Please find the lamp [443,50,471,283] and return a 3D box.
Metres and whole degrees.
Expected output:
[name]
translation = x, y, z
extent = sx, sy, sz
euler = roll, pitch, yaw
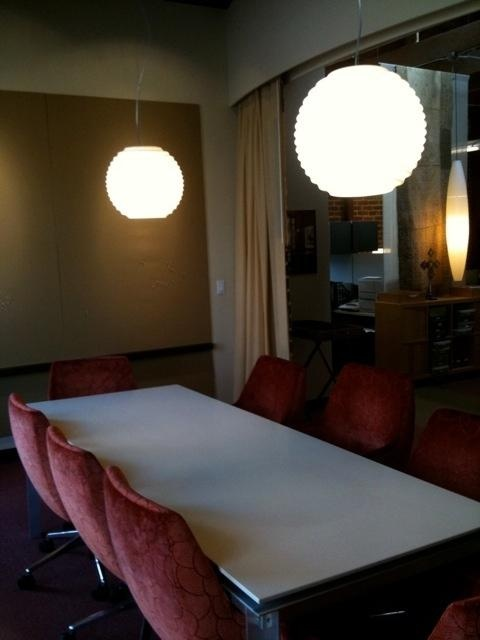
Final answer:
[lamp]
translation = 1.141, -0.734, 2.696
extent = 0.138, 1.092, 0.078
euler = 3, 8, 41
